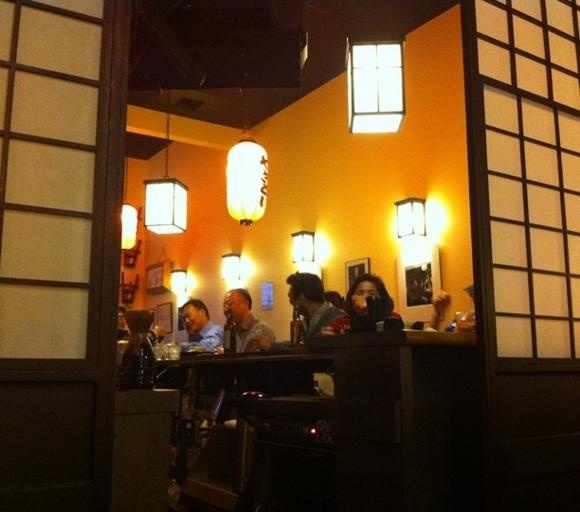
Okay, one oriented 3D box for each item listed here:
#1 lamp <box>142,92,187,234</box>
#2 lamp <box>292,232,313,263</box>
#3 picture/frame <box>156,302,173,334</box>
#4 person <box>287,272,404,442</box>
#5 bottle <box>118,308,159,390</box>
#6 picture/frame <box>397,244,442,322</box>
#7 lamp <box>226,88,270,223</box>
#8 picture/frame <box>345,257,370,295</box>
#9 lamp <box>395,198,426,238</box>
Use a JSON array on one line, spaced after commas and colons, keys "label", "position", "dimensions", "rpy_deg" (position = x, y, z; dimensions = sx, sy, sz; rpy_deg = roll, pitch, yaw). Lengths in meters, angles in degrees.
[{"label": "lamp", "position": [-1.595, -1.194, 7.403], "dimensions": [0.439, 2.180, 3.042], "rpy_deg": [1, -6, -10]}, {"label": "lamp", "position": [0.160, -0.114, 7.250], "dimensions": [0.337, 0.400, 0.178], "rpy_deg": [-3, -7, 25]}, {"label": "picture/frame", "position": [-2.238, 1.126, 9.926], "dimensions": [0.531, 0.746, 0.064], "rpy_deg": [-13, -19, 42]}, {"label": "person", "position": [0.244, 0.490, 2.712], "dimensions": [0.533, 0.516, 1.401], "rpy_deg": [-5, -12, -2]}, {"label": "bottle", "position": [-0.685, 0.406, 2.420], "dimensions": [0.220, 0.334, 0.132], "rpy_deg": [-4, -8, 36]}, {"label": "picture/frame", "position": [1.328, 0.285, 5.579], "dimensions": [0.051, 0.881, 0.526], "rpy_deg": [9, -17, -25]}, {"label": "lamp", "position": [-0.508, -1.110, 6.457], "dimensions": [0.556, 1.868, 0.621], "rpy_deg": [6, -26, -15]}, {"label": "picture/frame", "position": [0.650, 0.177, 5.275], "dimensions": [0.022, 0.401, 0.344], "rpy_deg": [8, -12, -20]}, {"label": "lamp", "position": [1.240, -0.390, 5.736], "dimensions": [0.188, 0.391, 0.325], "rpy_deg": [5, -8, -37]}]
